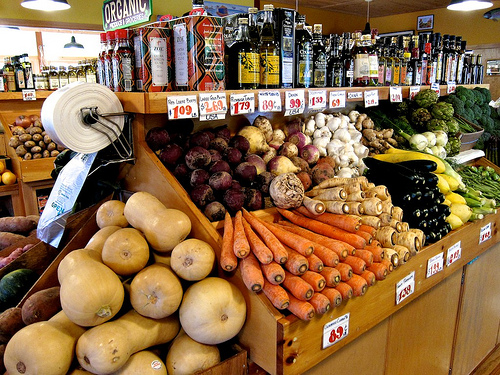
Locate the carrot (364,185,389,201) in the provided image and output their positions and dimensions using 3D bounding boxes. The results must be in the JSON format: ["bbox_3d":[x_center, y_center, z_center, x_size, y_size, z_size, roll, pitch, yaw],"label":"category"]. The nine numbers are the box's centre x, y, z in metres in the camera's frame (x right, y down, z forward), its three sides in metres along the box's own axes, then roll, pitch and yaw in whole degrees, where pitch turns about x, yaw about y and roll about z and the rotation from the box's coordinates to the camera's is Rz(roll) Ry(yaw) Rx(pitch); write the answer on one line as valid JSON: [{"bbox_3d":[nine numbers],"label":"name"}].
[{"bbox_3d":[0.656,0.029,1.773,0.125,0.060,0.051,9,-6,24],"label":"carrot"}]

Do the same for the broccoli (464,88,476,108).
[{"bbox_3d":[2.067,-0.816,3.181,0.094,0.184,0.150,5,22,34],"label":"broccoli"}]

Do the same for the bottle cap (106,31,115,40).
[{"bbox_3d":[-0.672,-0.732,1.644,0.044,0.034,0.044,-8,20,-32],"label":"bottle cap"}]

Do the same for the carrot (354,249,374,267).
[{"bbox_3d":[0.511,0.306,1.506,0.066,0.068,0.079,24,-2,-43],"label":"carrot"}]

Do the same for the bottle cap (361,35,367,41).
[{"bbox_3d":[0.775,-1.010,2.300,0.039,0.036,0.026,9,19,32],"label":"bottle cap"}]

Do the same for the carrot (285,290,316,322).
[{"bbox_3d":[0.183,0.444,1.272,0.088,0.082,0.089,-4,16,-22],"label":"carrot"}]

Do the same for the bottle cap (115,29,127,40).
[{"bbox_3d":[-0.591,-0.710,1.585,0.043,0.034,0.043,-8,25,-24],"label":"bottle cap"}]

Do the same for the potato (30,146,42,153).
[{"bbox_3d":[-2.489,-0.435,3.957,0.098,0.073,0.054,-11,19,-29],"label":"potato"}]

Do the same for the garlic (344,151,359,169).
[{"bbox_3d":[0.648,-0.173,2.163,0.094,0.100,0.040,-15,12,-28],"label":"garlic"}]

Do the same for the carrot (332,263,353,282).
[{"bbox_3d":[0.400,0.357,1.468,0.062,0.065,0.073,1,1,-41],"label":"carrot"}]

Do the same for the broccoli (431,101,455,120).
[{"bbox_3d":[1.554,-0.617,2.768,0.121,0.144,0.156,-12,11,-6],"label":"broccoli"}]

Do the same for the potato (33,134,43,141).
[{"bbox_3d":[-2.510,-0.588,4.028,0.077,0.041,0.078,34,31,-8],"label":"potato"}]

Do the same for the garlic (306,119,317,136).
[{"bbox_3d":[0.404,-0.389,2.254,0.080,0.104,0.041,5,-10,-39],"label":"garlic"}]

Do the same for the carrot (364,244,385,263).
[{"bbox_3d":[0.577,0.294,1.571,0.050,0.051,0.106,-16,20,-12],"label":"carrot"}]

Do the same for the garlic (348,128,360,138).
[{"bbox_3d":[0.720,-0.375,2.350,0.067,0.034,0.058,16,8,43],"label":"garlic"}]

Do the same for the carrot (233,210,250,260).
[{"bbox_3d":[-0.040,0.183,1.480,0.067,0.069,0.296,-14,34,4],"label":"carrot"}]

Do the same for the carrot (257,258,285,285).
[{"bbox_3d":[0.085,0.327,1.378,0.074,0.069,0.171,-10,20,-16],"label":"carrot"}]

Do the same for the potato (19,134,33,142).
[{"bbox_3d":[-2.638,-0.580,4.007,0.132,0.082,0.078,-14,21,-37],"label":"potato"}]

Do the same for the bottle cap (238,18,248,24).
[{"bbox_3d":[-0.032,-0.815,1.668,0.029,0.018,0.030,7,12,24],"label":"bottle cap"}]

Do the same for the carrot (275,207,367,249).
[{"bbox_3d":[0.301,0.217,1.652,0.438,0.081,0.078,-8,11,14],"label":"carrot"}]

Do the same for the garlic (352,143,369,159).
[{"bbox_3d":[0.727,-0.239,2.252,0.077,0.040,0.099,-20,55,-38],"label":"garlic"}]

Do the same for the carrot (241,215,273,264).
[{"bbox_3d":[0.023,0.219,1.444,0.075,0.100,0.296,-6,17,-16],"label":"carrot"}]

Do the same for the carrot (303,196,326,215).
[{"bbox_3d":[0.311,0.088,1.660,0.049,0.048,0.125,15,9,-20],"label":"carrot"}]

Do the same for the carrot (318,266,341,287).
[{"bbox_3d":[0.335,0.365,1.432,0.069,0.076,0.084,-1,2,-21],"label":"carrot"}]

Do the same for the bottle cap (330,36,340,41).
[{"bbox_3d":[0.543,-0.947,2.167,0.042,0.012,0.043,-2,17,-10],"label":"bottle cap"}]

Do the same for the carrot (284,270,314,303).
[{"bbox_3d":[0.182,0.382,1.351,0.049,0.066,0.145,-47,46,-14],"label":"carrot"}]

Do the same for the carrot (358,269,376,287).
[{"bbox_3d":[0.512,0.389,1.512,0.058,0.064,0.071,-1,24,-32],"label":"carrot"}]

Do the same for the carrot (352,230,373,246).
[{"bbox_3d":[0.520,0.228,1.577,0.088,0.040,0.043,27,69,31],"label":"carrot"}]

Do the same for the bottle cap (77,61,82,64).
[{"bbox_3d":[-1.950,-1.428,3.899,0.028,0.035,0.031,8,10,36],"label":"bottle cap"}]

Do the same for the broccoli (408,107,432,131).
[{"bbox_3d":[1.371,-0.560,2.741,0.168,0.176,0.100,30,18,23],"label":"broccoli"}]

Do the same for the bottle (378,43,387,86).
[{"bbox_3d":[1.006,-0.931,2.578,0.049,0.304,0.148,9,19,33],"label":"bottle"}]

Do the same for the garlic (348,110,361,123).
[{"bbox_3d":[0.763,-0.519,2.490,0.074,0.079,0.032,6,-2,1],"label":"garlic"}]

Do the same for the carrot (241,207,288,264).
[{"bbox_3d":[0.074,0.203,1.425,0.105,0.142,0.252,-9,20,-22],"label":"carrot"}]

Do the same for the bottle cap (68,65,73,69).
[{"bbox_3d":[-2.144,-1.432,4.068,0.054,0.055,0.055,-1,12,-13],"label":"bottle cap"}]

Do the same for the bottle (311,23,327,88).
[{"bbox_3d":[0.437,-0.827,2.118,0.097,0.398,0.399,2,17,12],"label":"bottle"}]

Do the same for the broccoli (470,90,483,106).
[{"bbox_3d":[2.217,-0.865,3.296,0.066,0.142,0.136,10,-10,23],"label":"broccoli"}]

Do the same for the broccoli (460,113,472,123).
[{"bbox_3d":[1.981,-0.643,3.114,0.107,0.025,0.066,47,43,9],"label":"broccoli"}]

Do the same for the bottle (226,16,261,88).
[{"bbox_3d":[-0.034,-0.683,1.730,0.181,0.347,0.109,-1,16,1],"label":"bottle"}]

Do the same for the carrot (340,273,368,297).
[{"bbox_3d":[0.439,0.408,1.441,0.055,0.059,0.114,-4,10,-36],"label":"carrot"}]

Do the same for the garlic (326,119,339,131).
[{"bbox_3d":[0.553,-0.414,2.264,0.063,0.086,0.072,5,4,17],"label":"garlic"}]

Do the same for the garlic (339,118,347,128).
[{"bbox_3d":[0.633,-0.434,2.303,0.029,0.055,0.056,13,61,36],"label":"garlic"}]

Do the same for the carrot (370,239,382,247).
[{"bbox_3d":[0.592,0.262,1.587,0.029,0.032,0.035,-1,11,-27],"label":"carrot"}]

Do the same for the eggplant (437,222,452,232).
[{"bbox_3d":[1.160,0.227,2.023,0.071,0.025,0.072,-4,9,-20],"label":"eggplant"}]

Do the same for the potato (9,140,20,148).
[{"bbox_3d":[-2.742,-0.500,3.955,0.075,0.045,0.060,-6,-23,-4],"label":"potato"}]

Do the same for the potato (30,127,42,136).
[{"bbox_3d":[-2.576,-0.667,4.083,0.077,0.062,0.107,3,7,3],"label":"potato"}]
